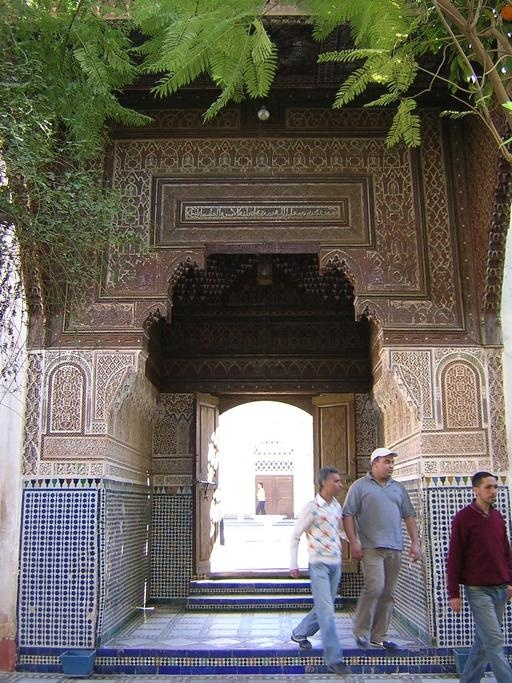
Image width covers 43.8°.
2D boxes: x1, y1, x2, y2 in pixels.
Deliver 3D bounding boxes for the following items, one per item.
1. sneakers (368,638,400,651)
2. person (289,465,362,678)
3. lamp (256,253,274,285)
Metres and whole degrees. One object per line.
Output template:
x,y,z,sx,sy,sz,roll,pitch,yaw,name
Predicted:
0.738,1.747,3.687,0.170,0.066,0.062,-1,-9,19,sneakers
0.325,1.243,3.408,0.316,1.114,0.711,-2,-14,6,person
0.068,-0.642,5.566,0.110,0.212,0.144,0,-14,-4,lamp
